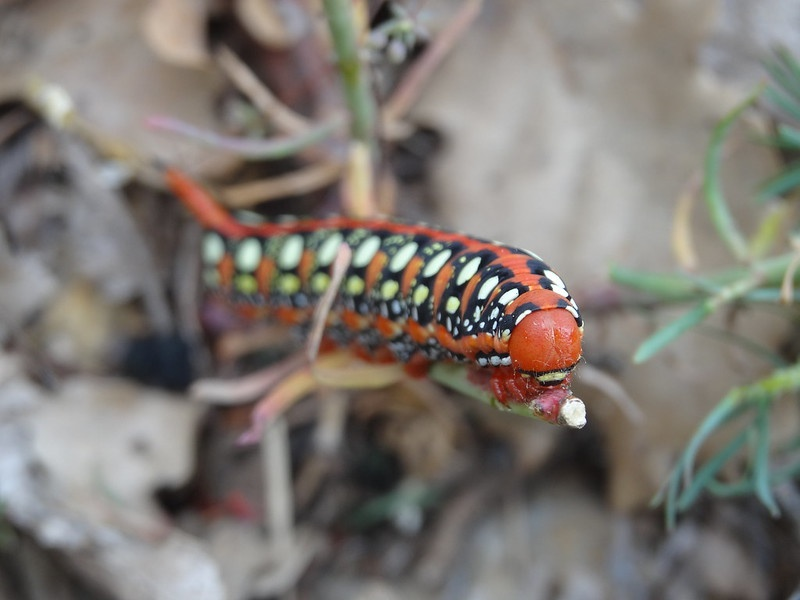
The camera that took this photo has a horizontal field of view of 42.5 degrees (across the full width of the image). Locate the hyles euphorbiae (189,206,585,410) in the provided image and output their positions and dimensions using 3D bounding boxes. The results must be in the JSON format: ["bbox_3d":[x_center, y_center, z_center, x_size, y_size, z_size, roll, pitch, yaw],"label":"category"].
[{"bbox_3d":[-0.036,-0.015,0.983,0.501,0.116,0.151,17,69,41],"label":"hyles euphorbiae"}]
